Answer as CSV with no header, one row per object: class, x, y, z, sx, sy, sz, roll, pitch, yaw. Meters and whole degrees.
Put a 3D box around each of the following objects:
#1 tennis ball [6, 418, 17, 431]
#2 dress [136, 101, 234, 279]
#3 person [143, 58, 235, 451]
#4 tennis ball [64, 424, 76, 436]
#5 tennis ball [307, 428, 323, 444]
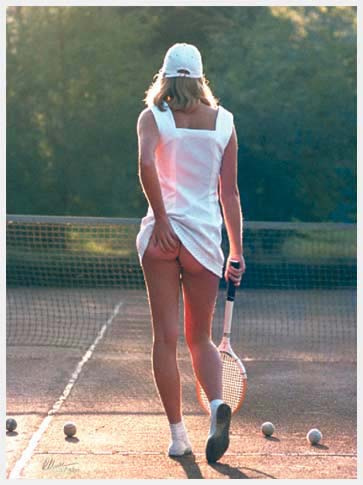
tennis ball,-1.115,1.192,5.547,0.060,0.068,0.065,4,-9,1
dress,0.081,-0.305,5.021,0.509,1.036,0.311,-4,13,-8
person,0.057,0.075,5.052,0.511,2.247,0.625,-1,13,3
tennis ball,-0.719,1.206,5.450,0.064,0.062,0.062,-1,3,0
tennis ball,0.846,1.241,5.456,0.080,0.095,0.079,8,15,-2
